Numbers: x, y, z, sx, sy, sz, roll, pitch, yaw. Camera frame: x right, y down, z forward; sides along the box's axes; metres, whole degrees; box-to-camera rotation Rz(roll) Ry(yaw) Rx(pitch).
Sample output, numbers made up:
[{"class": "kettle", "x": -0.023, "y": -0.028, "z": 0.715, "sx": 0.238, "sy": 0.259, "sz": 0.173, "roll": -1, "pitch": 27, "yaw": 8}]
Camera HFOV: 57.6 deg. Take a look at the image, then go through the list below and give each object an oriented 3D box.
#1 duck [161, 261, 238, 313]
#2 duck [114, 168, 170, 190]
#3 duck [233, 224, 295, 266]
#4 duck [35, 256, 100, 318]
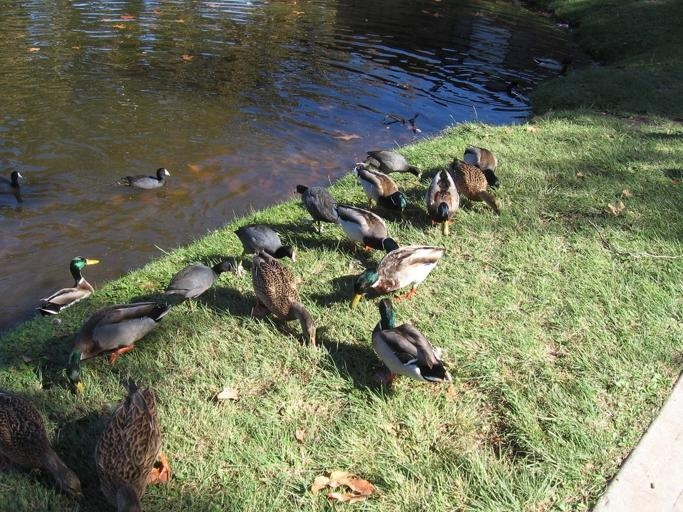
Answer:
[{"class": "duck", "x": -2.005, "y": 0.324, "z": 8.540, "sx": 1.032, "sy": 0.568, "sz": 0.389, "roll": -2, "pitch": 29, "yaw": -42}, {"class": "duck", "x": -3.823, "y": -1.518, "z": 12.020, "sx": 0.968, "sy": 0.372, "sz": 0.460, "roll": -2, "pitch": 32, "yaw": -16}, {"class": "duck", "x": -1.302, "y": -0.209, "z": 9.217, "sx": 0.861, "sy": 0.455, "sz": 0.382, "roll": 23, "pitch": -13, "yaw": -33}, {"class": "duck", "x": -4.136, "y": 0.501, "z": 9.387, "sx": 0.397, "sy": 0.684, "sz": 1.074, "roll": 16, "pitch": 42, "yaw": 38}]
